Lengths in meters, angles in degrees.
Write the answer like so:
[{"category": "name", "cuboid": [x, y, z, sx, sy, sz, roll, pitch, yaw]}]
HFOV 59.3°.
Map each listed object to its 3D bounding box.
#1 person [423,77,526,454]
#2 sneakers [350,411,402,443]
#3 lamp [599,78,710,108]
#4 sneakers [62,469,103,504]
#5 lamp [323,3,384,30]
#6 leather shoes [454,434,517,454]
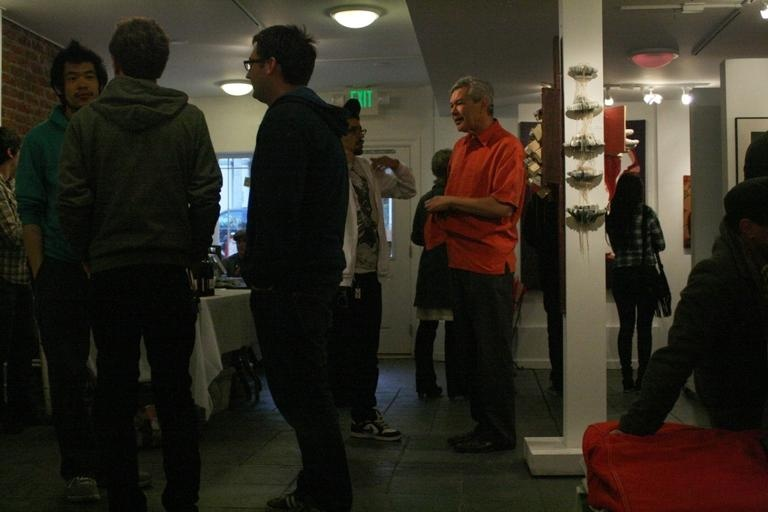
[{"category": "person", "cuboid": [0.553, 0.049, 4.055, 0.482, 2.238, 0.382, 0, 5, 36]}, {"category": "sneakers", "cuboid": [-0.059, 1.128, 4.392, 0.416, 0.214, 0.133, 0, -7, 4]}, {"category": "lamp", "cuboid": [2.753, -1.655, 6.786, 1.027, 0.225, 0.628, 0, 4, 3]}, {"category": "sneakers", "cuboid": [-1.490, 1.146, 3.338, 0.099, 0.081, 0.199, 1, -1, -9]}, {"category": "lamp", "cuboid": [-0.260, -2.087, 5.936, 0.480, 0.168, 0.528, -5, 5, -29]}, {"category": "leather shoes", "cuboid": [0.606, 1.118, 4.058, 0.362, 0.132, 0.127, 1, -7, -1]}]
